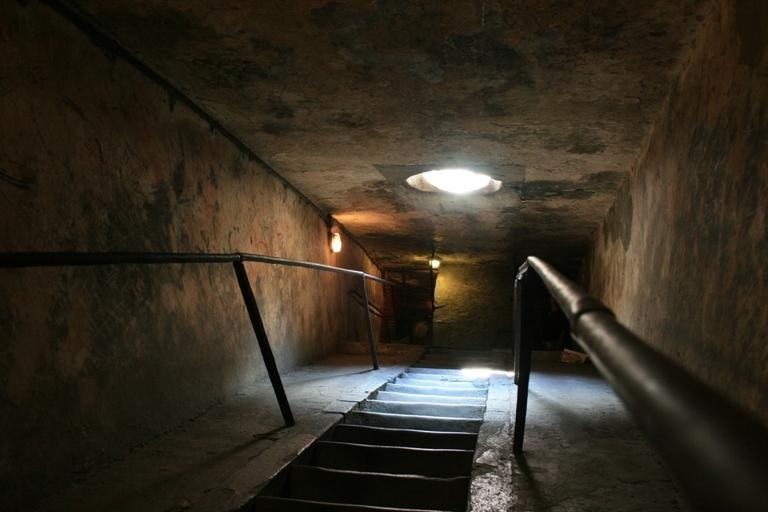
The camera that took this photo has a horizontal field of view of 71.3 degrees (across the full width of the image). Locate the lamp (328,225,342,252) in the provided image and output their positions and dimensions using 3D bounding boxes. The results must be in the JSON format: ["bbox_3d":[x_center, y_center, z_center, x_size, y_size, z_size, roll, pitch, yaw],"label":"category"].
[{"bbox_3d":[-0.581,-0.201,6.362,0.071,0.240,0.198,4,0,19],"label":"lamp"}]
